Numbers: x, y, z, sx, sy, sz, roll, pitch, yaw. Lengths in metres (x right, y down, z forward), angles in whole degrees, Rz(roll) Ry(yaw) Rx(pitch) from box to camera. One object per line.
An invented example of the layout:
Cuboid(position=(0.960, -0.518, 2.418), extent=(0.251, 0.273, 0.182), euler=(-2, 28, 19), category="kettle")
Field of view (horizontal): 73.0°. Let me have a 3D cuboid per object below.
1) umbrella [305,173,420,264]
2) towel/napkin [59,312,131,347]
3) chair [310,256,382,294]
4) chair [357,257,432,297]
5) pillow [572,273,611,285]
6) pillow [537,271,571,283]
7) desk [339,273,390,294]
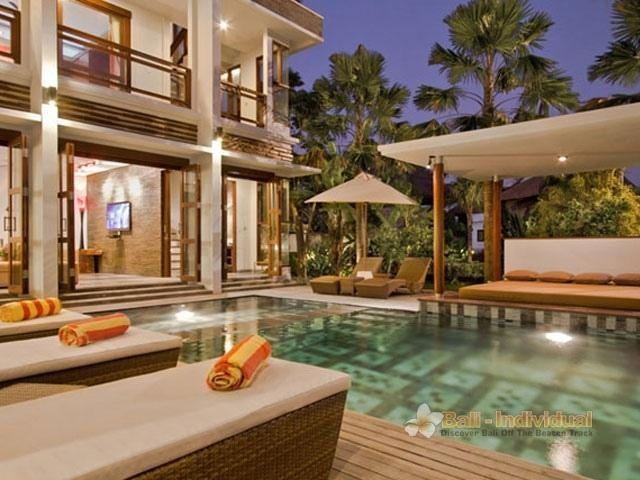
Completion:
Cuboid(position=(0.983, -0.560, 11.485), extent=(2.019, 2.287, 3.321), euler=(1, 2, -1), category="umbrella")
Cuboid(position=(-1.692, 0.673, 3.289), extent=(0.206, 0.160, 0.408), euler=(1, 2, 17), category="towel/napkin")
Cuboid(position=(0.731, 0.831, 9.848), extent=(1.274, 0.648, 0.906), euler=(2, -4, -40), category="chair")
Cuboid(position=(1.620, 0.800, 9.425), extent=(1.404, 0.627, 0.886), euler=(4, -6, -44), category="chair")
Cuboid(position=(4.750, 0.684, 7.527), extent=(0.583, 0.186, 0.332), euler=(2, 2, 30), category="pillow")
Cuboid(position=(4.327, 0.693, 7.947), extent=(0.552, 0.184, 0.325), euler=(2, 2, 25), category="pillow")
Cuboid(position=(1.009, 0.995, 9.672), extent=(1.025, 0.393, 1.505), euler=(1, 2, 13), category="desk")
